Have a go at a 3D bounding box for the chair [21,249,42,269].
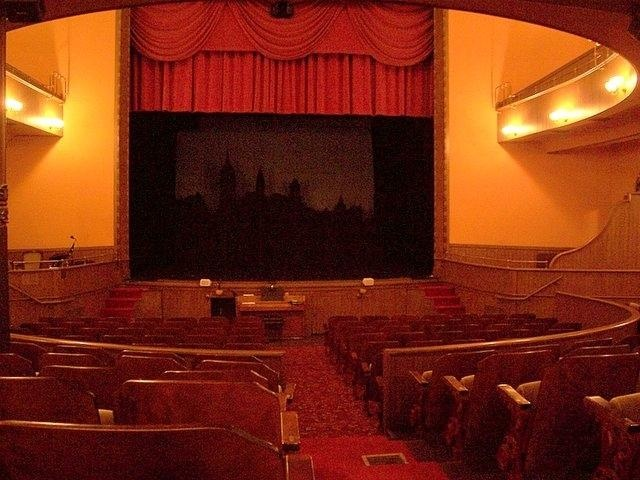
[{"bbox_3d":[-6.756,0.470,12.135,0.408,0.372,0.894,0,1,-30],"label":"chair"}]
